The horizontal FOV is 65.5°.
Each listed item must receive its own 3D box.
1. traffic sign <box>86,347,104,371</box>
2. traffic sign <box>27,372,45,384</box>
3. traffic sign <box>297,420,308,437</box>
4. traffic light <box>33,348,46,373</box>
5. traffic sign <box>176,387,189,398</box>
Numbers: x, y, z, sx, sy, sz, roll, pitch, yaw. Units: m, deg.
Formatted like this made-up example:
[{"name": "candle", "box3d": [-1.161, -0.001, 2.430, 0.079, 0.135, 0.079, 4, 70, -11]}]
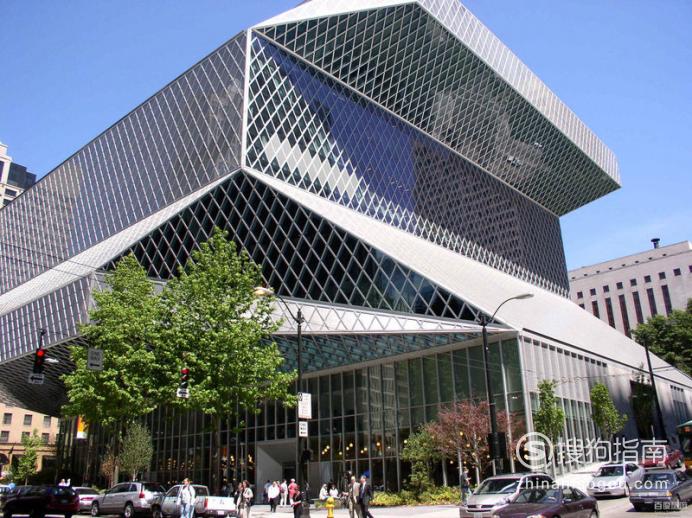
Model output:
[{"name": "traffic sign", "box3d": [-13.844, 5.398, 29.716, 0.747, 1.235, 0.546, -7, -21, 10]}, {"name": "traffic sign", "box3d": [-15.836, 5.945, 27.588, 0.569, 0.596, 1.667, 11, -28, -31]}, {"name": "traffic sign", "box3d": [-2.199, 8.408, 26.917, 0.380, 0.832, 0.855, -4, -22, 4]}, {"name": "traffic light", "box3d": [-15.094, 4.871, 26.575, 0.455, 1.268, 2.437, 9, -27, -28]}, {"name": "traffic sign", "box3d": [-8.829, 7.175, 29.185, 0.594, 0.513, 1.043, 4, -25, -17]}]
